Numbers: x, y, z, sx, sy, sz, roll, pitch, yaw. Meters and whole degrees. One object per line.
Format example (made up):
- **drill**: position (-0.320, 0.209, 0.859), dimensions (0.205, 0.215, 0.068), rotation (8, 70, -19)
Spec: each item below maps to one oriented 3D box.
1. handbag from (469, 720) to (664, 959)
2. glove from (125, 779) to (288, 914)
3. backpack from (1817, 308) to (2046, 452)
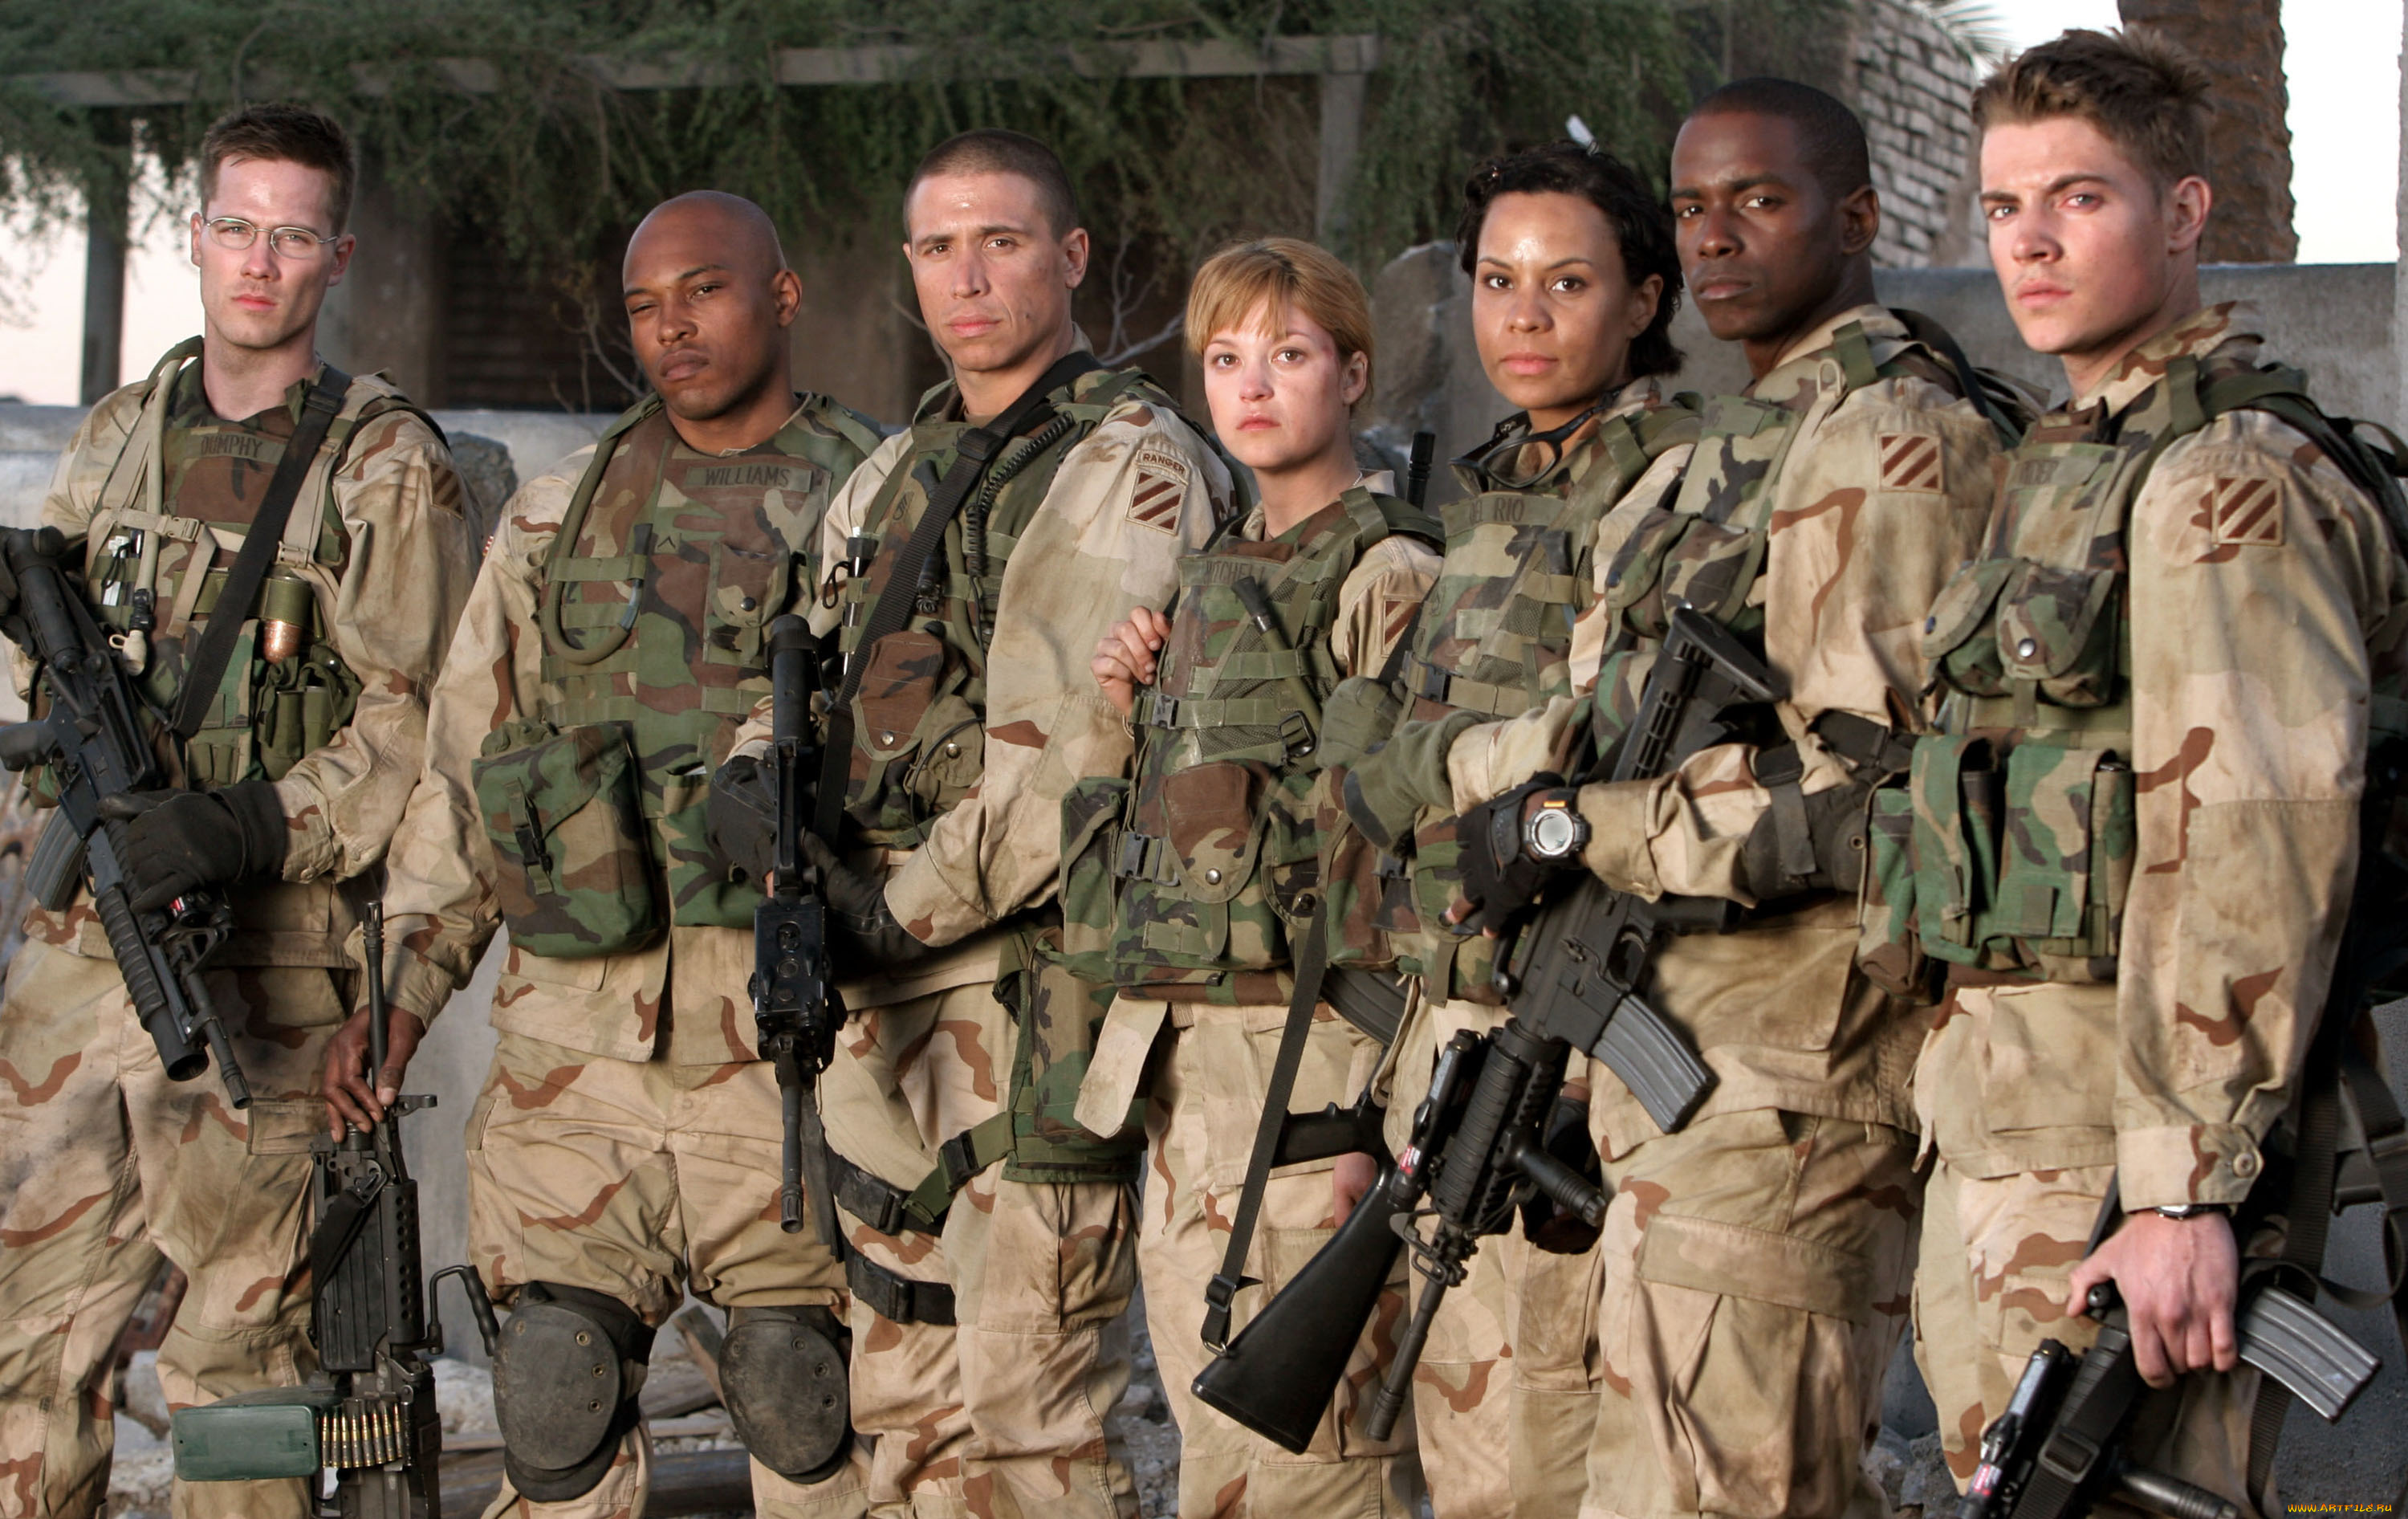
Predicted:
- **handbag**: position (-1.523, 0.181, 7.669), dimensions (0.407, 0.516, 0.282), rotation (-19, -15, 22)
- **glove**: position (-2.450, 0.195, 7.755), dimensions (0.332, 0.271, 0.162), rotation (-8, -17, -14)
- **backpack**: position (1.617, -0.798, 6.611), dimensions (0.595, 0.309, 0.313), rotation (-2, 2, -37)
